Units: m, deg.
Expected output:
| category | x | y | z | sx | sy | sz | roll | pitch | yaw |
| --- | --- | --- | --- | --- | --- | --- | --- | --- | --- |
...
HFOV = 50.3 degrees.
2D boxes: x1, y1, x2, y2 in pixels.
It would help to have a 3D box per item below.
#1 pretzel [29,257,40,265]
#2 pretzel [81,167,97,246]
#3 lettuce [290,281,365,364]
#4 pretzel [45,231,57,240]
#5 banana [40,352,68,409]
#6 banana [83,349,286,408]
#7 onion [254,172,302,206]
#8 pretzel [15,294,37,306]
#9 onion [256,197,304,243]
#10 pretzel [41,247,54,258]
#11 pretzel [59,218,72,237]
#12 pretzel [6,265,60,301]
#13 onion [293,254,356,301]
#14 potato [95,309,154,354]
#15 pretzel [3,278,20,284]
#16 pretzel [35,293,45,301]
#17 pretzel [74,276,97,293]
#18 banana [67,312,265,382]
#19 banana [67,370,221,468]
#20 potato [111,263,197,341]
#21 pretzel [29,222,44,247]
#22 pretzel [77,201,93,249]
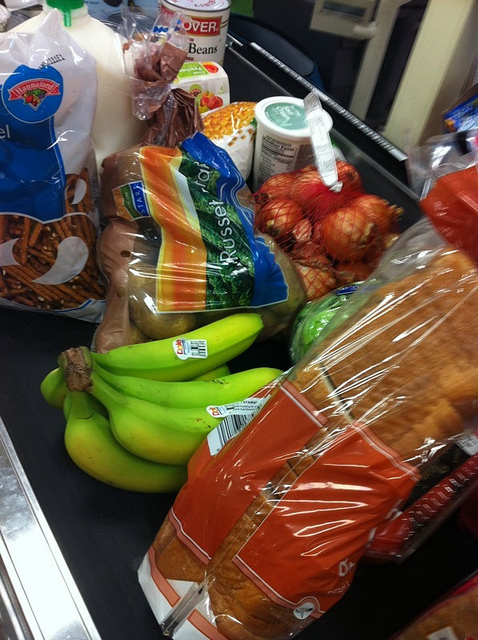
| category | x | y | z | sx | sy | sz | roll | pitch | yaw |
| --- | --- | --- | --- | --- | --- | --- | --- | --- | --- |
| pretzel | -0.336 | -0.097 | 0.837 | 0.018 | 0.011 | 0.004 | 25 | 15 | -5 |
| pretzel | -0.255 | -0.193 | 0.869 | 0.015 | 0.102 | 0.012 | 7 | 28 | 8 |
| lettuce | 0.124 | 0.013 | 0.815 | 0.128 | 0.142 | 0.108 | -14 | 37 | -17 |
| pretzel | -0.306 | -0.136 | 0.826 | 0.013 | 0.009 | 0.003 | 31 | 32 | -3 |
| banana | -0.262 | 0.088 | 0.720 | 0.056 | 0.083 | 0.046 | -7 | 32 | -15 |
| banana | -0.086 | 0.081 | 0.703 | 0.227 | 0.081 | 0.046 | -2 | 35 | -20 |
| onion | 0.061 | -0.250 | 0.974 | 0.092 | 0.059 | 0.094 | -6 | 27 | -1 |
| pretzel | -0.369 | -0.034 | 0.879 | 0.043 | 0.011 | 0.012 | 29 | -6 | -35 |
| onion | 0.072 | -0.180 | 0.917 | 0.089 | 0.065 | 0.072 | -34 | 31 | -21 |
| pretzel | -0.313 | -0.109 | 0.833 | 0.017 | 0.010 | 0.004 | 11 | 18 | -31 |
| pretzel | -0.284 | -0.150 | 0.834 | 0.011 | 0.026 | 0.017 | -32 | 62 | -27 |
| pretzel | -0.349 | -0.065 | 0.859 | 0.082 | 0.011 | 0.012 | 36 | 17 | -13 |
| onion | 0.148 | -0.073 | 0.895 | 0.097 | 0.070 | 0.054 | -11 | -7 | 5 |
| potato | -0.183 | 0.019 | 0.812 | 0.054 | 0.070 | 0.060 | -25 | 40 | -37 |
| pretzel | -0.381 | -0.065 | 0.857 | 0.027 | 0.006 | 0.007 | 13 | 8 | -5 |
| pretzel | -0.343 | -0.040 | 0.878 | 0.004 | 0.014 | 0.014 | -51 | 22 | -16 |
| pretzel | -0.272 | -0.062 | 0.897 | 0.009 | 0.040 | 0.005 | -46 | 46 | -2 |
| banana | -0.094 | 0.051 | 0.773 | 0.285 | 0.083 | 0.071 | -14 | 28 | -16 |
| banana | -0.119 | 0.123 | 0.639 | 0.190 | 0.107 | 0.073 | 4 | 52 | -4 |
| potato | -0.152 | -0.029 | 0.820 | 0.105 | 0.124 | 0.122 | -16 | 35 | -21 |
| pretzel | -0.325 | -0.136 | 0.818 | 0.009 | 0.035 | 0.030 | 32 | 55 | 16 |
| pretzel | -0.261 | -0.160 | 0.864 | 0.008 | 0.056 | 0.011 | 5 | 27 | 31 |
